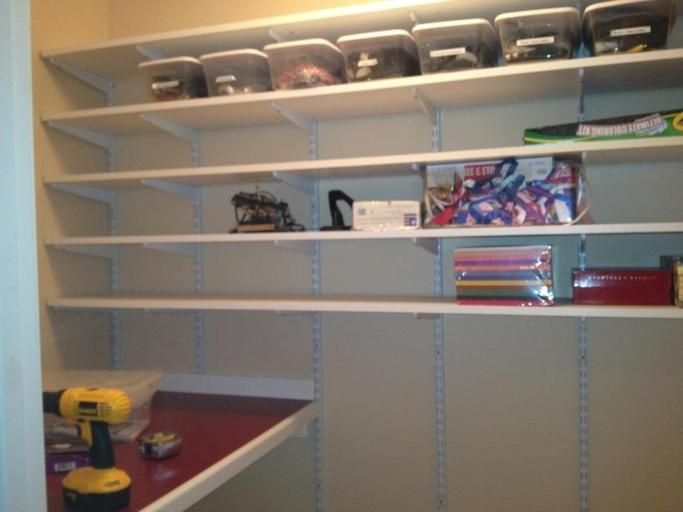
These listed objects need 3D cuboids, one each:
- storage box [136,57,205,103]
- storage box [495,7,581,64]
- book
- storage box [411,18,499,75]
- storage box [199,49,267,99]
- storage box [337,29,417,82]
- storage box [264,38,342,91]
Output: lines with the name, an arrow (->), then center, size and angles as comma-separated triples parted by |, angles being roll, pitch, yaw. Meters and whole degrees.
storage box -> -0.719, -0.730, 2.754 | 0.233, 0.115, 0.188 | 4, 6, 23
storage box -> 0.726, -0.799, 2.385 | 0.298, 0.166, 0.166 | -3, -1, 12
book -> 0.610, 0.078, 2.447 | 0.350, 0.190, 0.085 | -2, -1, 8
storage box -> 0.421, -0.783, 2.429 | 0.279, 0.101, 0.190 | 2, 3, 20
storage box -> -0.442, -0.739, 2.663 | 0.252, 0.117, 0.173 | 2, 8, 27
storage box -> 0.131, -0.746, 2.504 | 0.252, 0.125, 0.202 | -1, 6, 12
storage box -> -0.138, -0.760, 2.566 | 0.250, 0.126, 0.204 | -1, 6, 14
